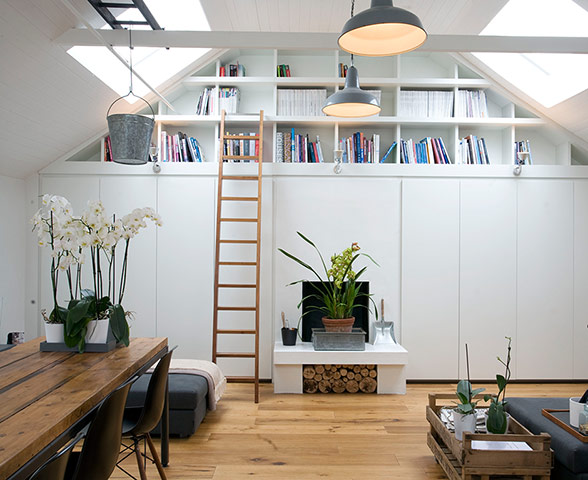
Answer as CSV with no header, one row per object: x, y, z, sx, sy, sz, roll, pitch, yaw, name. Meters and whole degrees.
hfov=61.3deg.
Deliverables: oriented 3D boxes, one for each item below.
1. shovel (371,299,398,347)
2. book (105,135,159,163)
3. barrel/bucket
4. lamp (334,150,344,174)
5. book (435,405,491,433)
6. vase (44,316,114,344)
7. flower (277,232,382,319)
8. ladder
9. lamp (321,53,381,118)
0.924,0.858,5.149,0.247,0.451,0.100,0,-2,3,shovel
-1.714,-0.928,5.120,0.483,0.318,0.434,0,-1,6,book
-1.375,-0.865,4.184,0.365,0.405,0.251,-1,5,-20,barrel/bucket
0.470,-0.834,5.224,0.082,0.255,0.171,5,7,42,lamp
1.139,1.188,3.372,0.187,0.132,0.206,1,-9,0,book
-1.341,0.539,3.104,0.268,0.110,0.192,1,-4,-2,vase
0.320,0.420,5.185,0.908,0.731,0.914,3,-5,-25,flower
-0.570,0.078,5.105,0.533,2.784,0.910,0,5,-3,ladder
0.442,-1.194,3.913,0.430,0.501,0.478,1,-1,4,lamp
